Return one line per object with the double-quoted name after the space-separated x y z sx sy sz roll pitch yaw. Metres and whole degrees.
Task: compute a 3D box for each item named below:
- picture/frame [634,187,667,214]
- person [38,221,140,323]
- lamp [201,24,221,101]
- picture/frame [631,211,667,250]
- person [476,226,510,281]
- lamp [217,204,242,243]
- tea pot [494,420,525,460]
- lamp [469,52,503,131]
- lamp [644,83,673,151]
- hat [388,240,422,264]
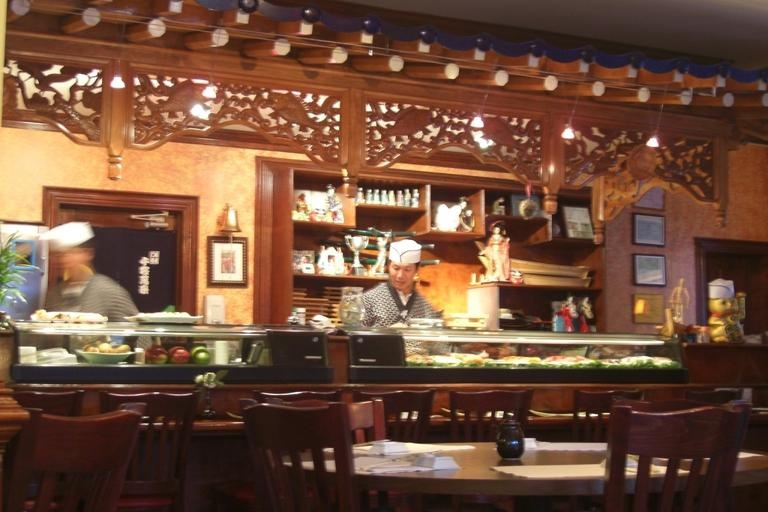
3.141 -0.683 8.582 0.421 0.292 0.075 3 -7 -17 "picture/frame"
-2.452 0.118 6.013 0.734 0.669 1.240 -2 7 -42 "person"
-1.155 -1.276 4.906 0.100 0.424 0.338 4 -6 -14 "lamp"
3.088 -0.302 8.529 0.689 0.362 0.075 3 -8 -21 "picture/frame"
1.187 -0.055 7.827 0.387 0.675 0.637 2 -6 6 "person"
-1.520 -0.338 7.215 0.243 0.389 0.235 4 -6 -11 "lamp"
0.568 0.826 3.280 0.118 0.169 0.117 2 -6 0 "tea pot"
0.773 -1.199 5.334 0.278 0.461 0.552 2 -5 7 "lamp"
2.165 -1.073 5.794 0.142 0.427 0.282 0 -7 19 "lamp"
0.201 -0.042 6.389 0.269 0.104 0.260 2 6 11 "hat"
